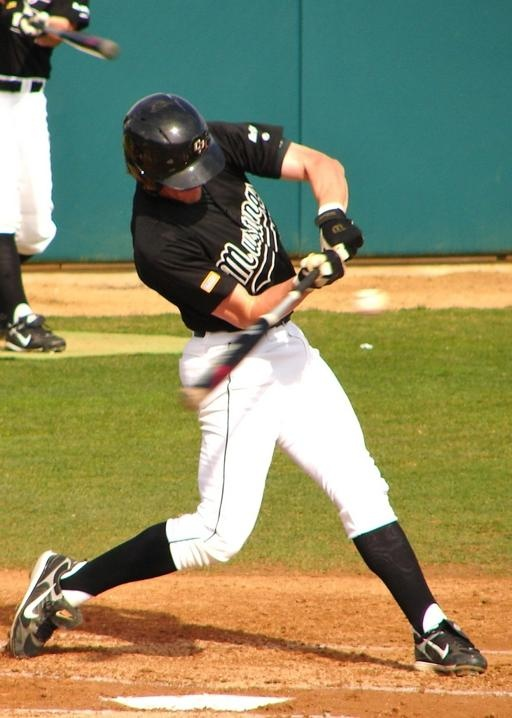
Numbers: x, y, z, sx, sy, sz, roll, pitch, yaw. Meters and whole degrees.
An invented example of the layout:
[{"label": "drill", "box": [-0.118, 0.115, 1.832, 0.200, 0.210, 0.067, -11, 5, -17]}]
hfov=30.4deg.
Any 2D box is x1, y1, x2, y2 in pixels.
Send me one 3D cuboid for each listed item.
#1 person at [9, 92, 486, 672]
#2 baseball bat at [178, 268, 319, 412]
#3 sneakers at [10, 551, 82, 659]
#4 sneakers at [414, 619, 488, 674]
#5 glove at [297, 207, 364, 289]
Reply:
[{"label": "person", "box": [0.020, 0.164, 2.666, 1.130, 1.646, 0.961, 11, 29, 9]}, {"label": "baseball bat", "box": [-0.027, -0.046, 2.464, 0.079, 0.511, 0.098, 23, 32, -41]}, {"label": "sneakers", "box": [-0.562, 0.675, 2.736, 0.168, 0.123, 0.351, 7, 57, 16]}, {"label": "sneakers", "box": [0.493, 0.746, 2.469, 0.221, 0.103, 0.098, -2, -1, 43]}, {"label": "glove", "box": [0.193, -0.278, 2.419, 0.104, 0.216, 0.163, 30, 46, -10]}]
